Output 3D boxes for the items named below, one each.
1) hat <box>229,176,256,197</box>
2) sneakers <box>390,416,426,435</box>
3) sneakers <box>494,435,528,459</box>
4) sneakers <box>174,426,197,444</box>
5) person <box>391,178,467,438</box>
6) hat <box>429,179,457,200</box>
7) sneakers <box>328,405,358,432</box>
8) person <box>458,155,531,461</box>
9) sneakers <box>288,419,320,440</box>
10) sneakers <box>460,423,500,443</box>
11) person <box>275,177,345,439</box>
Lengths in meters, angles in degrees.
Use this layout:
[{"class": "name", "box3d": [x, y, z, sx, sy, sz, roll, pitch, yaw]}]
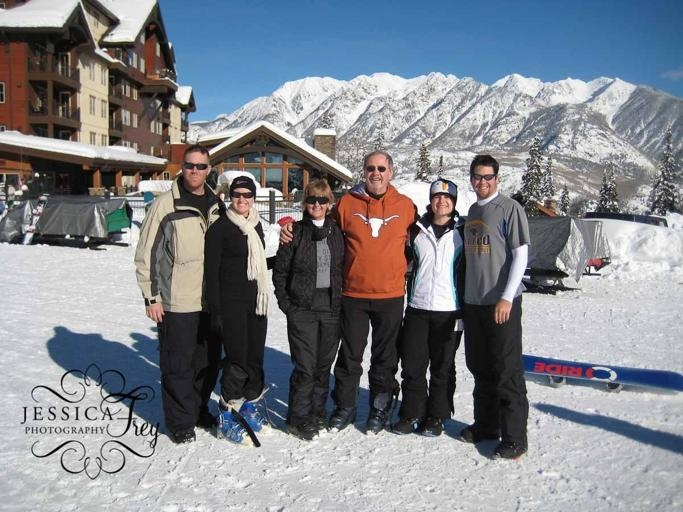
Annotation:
[{"class": "hat", "box3d": [-1.238, -0.878, 6.685, 0.326, 0.264, 0.238, -2, 13, -13]}, {"class": "sneakers", "box3d": [0.851, 2.154, 6.972, 0.461, 0.205, 0.179, 3, 0, -29]}, {"class": "sneakers", "box3d": [2.015, 2.262, 6.446, 0.373, 0.207, 0.182, 1, 11, -15]}, {"class": "sneakers", "box3d": [-1.910, 2.169, 6.525, 0.232, 0.264, 0.151, -1, 2, -13]}, {"class": "person", "box3d": [1.169, 0.629, 6.911, 0.753, 3.198, 0.856, 3, 12, 11]}, {"class": "hat", "box3d": [1.300, -0.871, 6.795, 0.220, 0.342, 0.246, 3, -3, -6]}, {"class": "sneakers", "box3d": [0.001, 2.109, 6.975, 0.163, 0.246, 0.509, -2, -6, 30]}, {"class": "person", "box3d": [1.870, 0.570, 6.566, 0.673, 3.505, 1.165, -6, 14, -31]}, {"class": "sneakers", "box3d": [-0.532, 2.168, 6.871, 0.471, 0.248, 0.165, -1, 3, 34]}, {"class": "sneakers", "box3d": [1.726, 2.225, 6.754, 0.443, 0.244, 0.216, 5, 3, -3]}, {"class": "person", "box3d": [-0.471, 0.627, 6.886, 0.855, 3.125, 0.865, 6, 13, 24]}]
